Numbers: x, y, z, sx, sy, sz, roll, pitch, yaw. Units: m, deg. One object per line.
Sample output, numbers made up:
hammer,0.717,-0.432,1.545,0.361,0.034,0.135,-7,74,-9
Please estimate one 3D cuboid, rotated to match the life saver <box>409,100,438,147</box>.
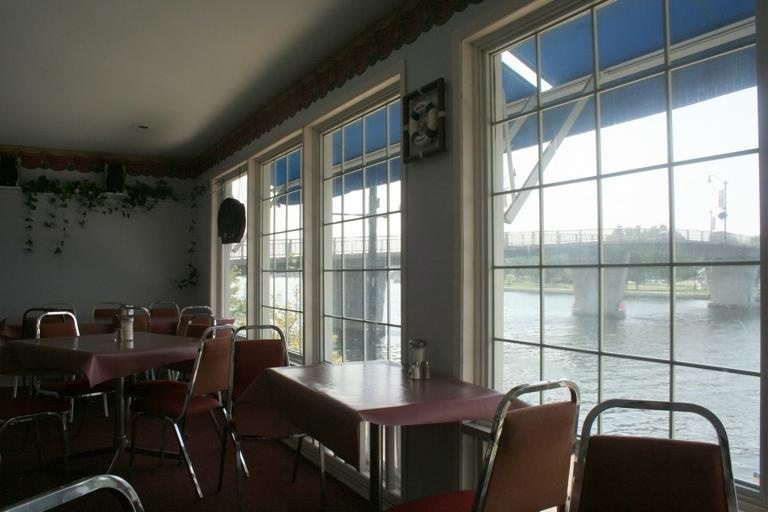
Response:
life saver,0.264,-0.882,3.604,0.097,0.262,0.240,2,2,-36
